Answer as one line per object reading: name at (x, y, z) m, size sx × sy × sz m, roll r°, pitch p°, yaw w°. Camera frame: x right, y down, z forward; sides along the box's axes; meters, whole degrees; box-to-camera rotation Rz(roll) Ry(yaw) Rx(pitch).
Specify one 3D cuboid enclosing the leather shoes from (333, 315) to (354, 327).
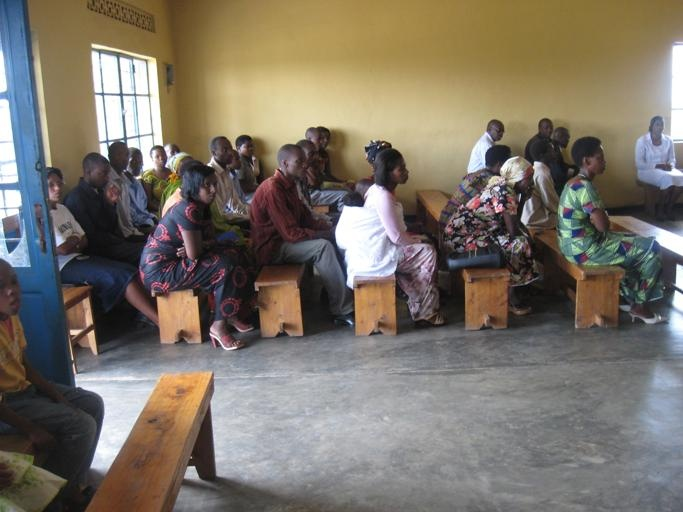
leather shoes at (0.022, 0.526, 4.308) m, size 0.195 × 0.093 × 0.068 m, roll 17°, pitch 6°, yaw 33°

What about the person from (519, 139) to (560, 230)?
person at (2.173, -0.774, 5.584) m, size 0.475 × 0.921 × 0.484 m, roll -23°, pitch 30°, yaw -30°

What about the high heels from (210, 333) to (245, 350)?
high heels at (-0.865, 0.657, 3.908) m, size 0.239 × 0.084 × 0.119 m, roll 4°, pitch 8°, yaw 24°

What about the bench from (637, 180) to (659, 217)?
bench at (4.647, -0.882, 7.826) m, size 0.344 × 0.513 × 0.491 m, roll 6°, pitch 12°, yaw 40°

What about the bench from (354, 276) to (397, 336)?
bench at (0.280, 0.329, 4.249) m, size 0.374 × 0.519 × 0.528 m, roll -2°, pitch 4°, yaw 2°

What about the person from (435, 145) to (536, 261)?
person at (1.331, -0.247, 4.451) m, size 0.814 × 1.248 × 0.497 m, roll 2°, pitch 38°, yaw 15°

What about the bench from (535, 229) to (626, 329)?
bench at (2.018, 0.185, 4.389) m, size 0.403 × 0.574 × 0.953 m, roll -2°, pitch 11°, yaw 4°

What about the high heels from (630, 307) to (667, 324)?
high heels at (2.415, 0.473, 4.059) m, size 0.193 × 0.085 × 0.115 m, roll -5°, pitch 4°, yaw 21°

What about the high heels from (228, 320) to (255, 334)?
high heels at (-0.798, 0.567, 4.199) m, size 0.239 × 0.110 × 0.096 m, roll 1°, pitch 6°, yaw 6°

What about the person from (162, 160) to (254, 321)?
person at (-1.123, 0.002, 3.922) m, size 0.745 × 1.393 × 0.375 m, roll -1°, pitch 11°, yaw 8°

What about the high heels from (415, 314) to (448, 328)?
high heels at (0.741, 0.534, 4.198) m, size 0.213 × 0.061 × 0.107 m, roll -3°, pitch 18°, yaw -2°
